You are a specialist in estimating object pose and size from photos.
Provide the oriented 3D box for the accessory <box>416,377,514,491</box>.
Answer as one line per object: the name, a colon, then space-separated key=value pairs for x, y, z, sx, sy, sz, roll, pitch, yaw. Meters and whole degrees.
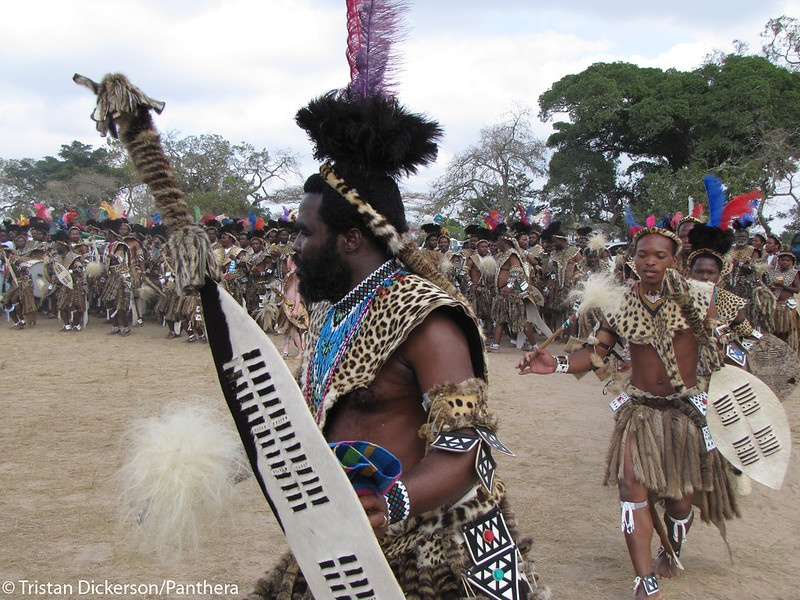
accessory: x=0.230 y=0.458 z=2.596 sx=0.350 sy=0.414 sz=0.178 roll=-23 pitch=-13 yaw=5

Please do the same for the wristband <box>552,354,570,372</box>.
wristband: x=0.970 y=0.390 z=4.271 sx=0.082 sy=0.122 sz=0.297 roll=4 pitch=10 yaw=16

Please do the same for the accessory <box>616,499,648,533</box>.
accessory: x=1.419 y=1.321 z=4.349 sx=0.155 sy=0.196 sz=0.166 roll=6 pitch=12 yaw=25

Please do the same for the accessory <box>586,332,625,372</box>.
accessory: x=1.347 y=0.372 z=4.699 sx=0.172 sy=0.175 sz=0.511 roll=-10 pitch=-18 yaw=36

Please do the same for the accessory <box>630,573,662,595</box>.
accessory: x=1.496 y=1.732 z=4.366 sx=0.140 sy=0.102 sz=0.155 roll=-2 pitch=-10 yaw=-12

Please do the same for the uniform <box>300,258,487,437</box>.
uniform: x=-0.039 y=0.202 z=2.765 sx=0.418 sy=0.423 sz=0.722 roll=0 pitch=-12 yaw=-39

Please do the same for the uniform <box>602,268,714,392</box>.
uniform: x=1.646 y=0.216 z=4.531 sx=0.741 sy=0.811 sz=0.570 roll=-14 pitch=-1 yaw=17

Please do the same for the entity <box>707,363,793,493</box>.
entity: x=2.132 y=0.784 z=4.338 sx=0.305 sy=0.730 sz=0.495 roll=-9 pitch=15 yaw=-40
